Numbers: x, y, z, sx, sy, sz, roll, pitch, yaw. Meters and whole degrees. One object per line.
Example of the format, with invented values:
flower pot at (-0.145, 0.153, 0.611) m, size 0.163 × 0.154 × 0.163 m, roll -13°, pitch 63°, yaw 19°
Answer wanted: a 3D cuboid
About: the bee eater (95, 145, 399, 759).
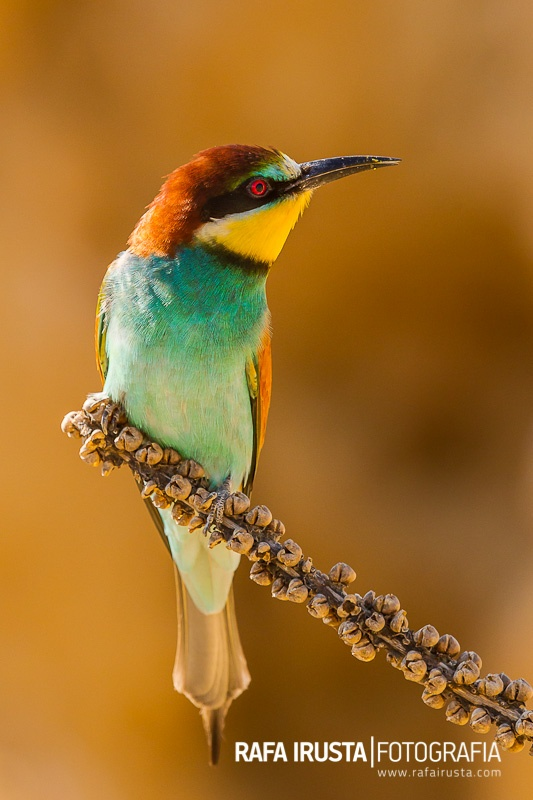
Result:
bee eater at (-0.088, 0.172, 1.886) m, size 0.379 × 1.143 × 0.488 m, roll 2°, pitch 7°, yaw -10°
